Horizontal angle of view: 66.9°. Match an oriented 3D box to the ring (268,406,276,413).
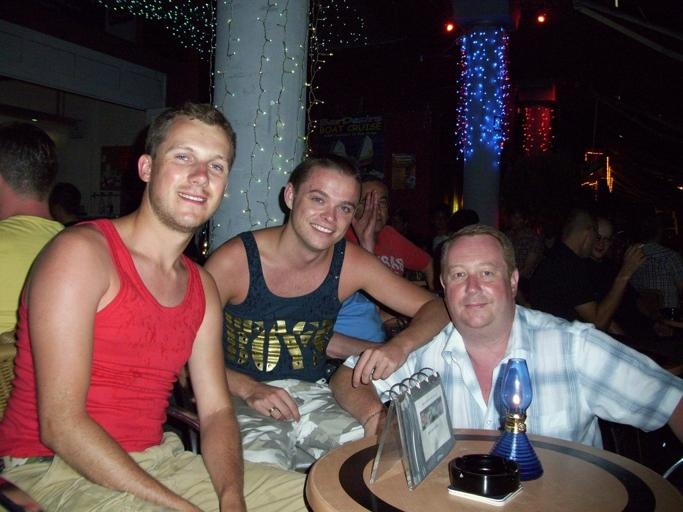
[{"bbox_3d":[-0.320,0.698,2.352,0.021,0.029,0.011,-4,-23,9],"label":"ring"}]
